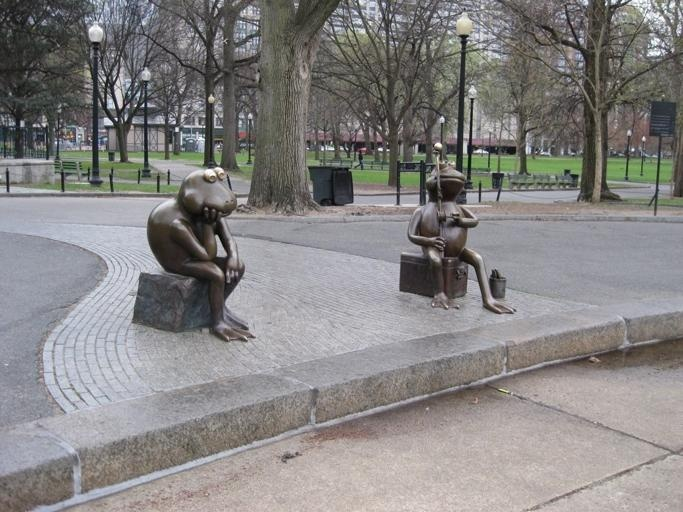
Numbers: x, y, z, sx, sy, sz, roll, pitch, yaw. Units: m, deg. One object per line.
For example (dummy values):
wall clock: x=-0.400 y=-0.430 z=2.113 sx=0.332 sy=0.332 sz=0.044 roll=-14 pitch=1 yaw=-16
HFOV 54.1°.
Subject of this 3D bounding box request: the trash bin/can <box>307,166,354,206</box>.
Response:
trash bin/can: x=-0.433 y=-2.374 z=22.508 sx=1.163 sy=1.444 sz=1.390 roll=9 pitch=10 yaw=42
